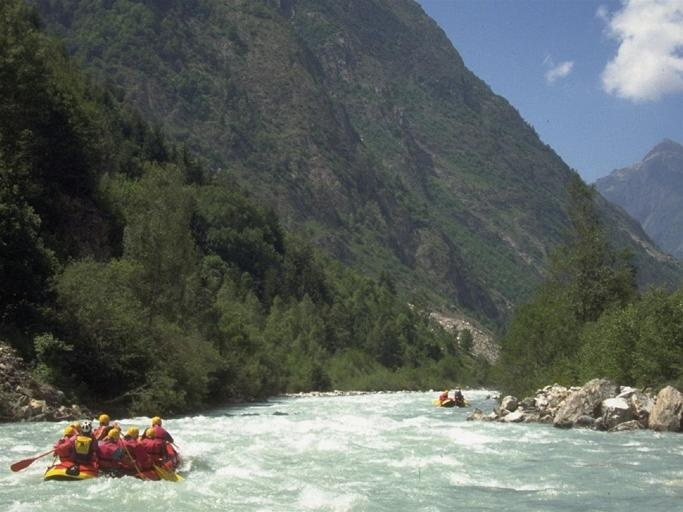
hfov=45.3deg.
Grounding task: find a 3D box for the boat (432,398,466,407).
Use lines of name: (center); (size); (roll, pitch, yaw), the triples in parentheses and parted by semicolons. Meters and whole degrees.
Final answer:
boat: (12.670, 17.163, 96.451); (4.255, 1.164, 2.642); (-9, -15, 21)
